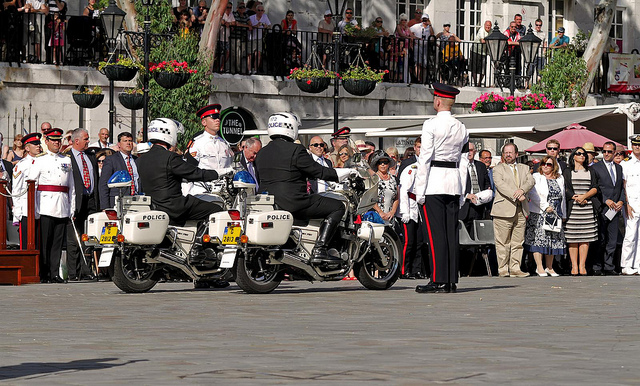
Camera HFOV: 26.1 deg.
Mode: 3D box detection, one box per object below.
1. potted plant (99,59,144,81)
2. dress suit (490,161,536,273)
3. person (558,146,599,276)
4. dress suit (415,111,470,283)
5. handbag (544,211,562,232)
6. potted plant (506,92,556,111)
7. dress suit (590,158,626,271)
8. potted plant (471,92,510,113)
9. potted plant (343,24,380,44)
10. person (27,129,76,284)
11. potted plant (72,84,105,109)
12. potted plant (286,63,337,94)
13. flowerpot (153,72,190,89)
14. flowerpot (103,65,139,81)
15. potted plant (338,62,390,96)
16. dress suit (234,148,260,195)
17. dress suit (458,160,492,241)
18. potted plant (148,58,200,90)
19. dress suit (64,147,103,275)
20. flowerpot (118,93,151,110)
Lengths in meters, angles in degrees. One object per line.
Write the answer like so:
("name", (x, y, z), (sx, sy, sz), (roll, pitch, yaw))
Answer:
("potted plant", (-4.588, -2.823, 31.812), (0.787, 0.260, 0.726), (-1, -3, -2))
("dress suit", (3.808, 0.359, 27.116), (1.016, 2.380, 0.817), (-1, -5, 14))
("person", (5.238, 0.367, 27.864), (0.909, 1.841, 0.433), (-1, 0, -12))
("dress suit", (2.038, 0.109, 22.995), (1.033, 2.583, 0.995), (1, 0, 4))
("handbag", (4.556, 0.573, 27.229), (0.418, 0.484, 0.084), (4, -20, 0))
("potted plant", (5.402, -2.257, 34.982), (0.824, 0.306, 0.794), (-5, 9, -32))
("dress suit", (5.850, 0.436, 28.161), (0.751, 2.159, 0.572), (2, 2, 11))
("potted plant", (4.339, -2.279, 35.449), (0.655, 0.323, 0.632), (1, -1, -22))
("potted plant", (1.064, -4.200, 37.209), (0.797, 0.348, 0.688), (4, 4, 9))
("person", (-4.909, 0.225, 25.304), (0.878, 2.768, 0.506), (0, 0, -20))
("potted plant", (-5.503, -2.285, 33.196), (0.644, 0.332, 0.629), (0, 1, 23))
("potted plant", (-0.218, -2.722, 33.590), (0.951, 0.493, 0.859), (3, -1, 0))
("flowerpot", (-3.388, -2.538, 31.366), (0.808, 0.327, 0.515), (0, 0, -6))
("flowerpot", (-4.588, -2.735, 31.689), (0.837, 0.296, 0.571), (0, 0, -15))
("potted plant", (1.014, -2.749, 34.365), (1.042, 0.450, 1.064), (1, -2, 6))
("dress suit", (-1.348, -0.427, 25.525), (0.524, 0.716, 0.419), (-5, -1, -26))
("dress suit", (3.019, 0.026, 27.383), (0.658, 1.798, 0.576), (1, 1, -15))
("potted plant", (-3.356, -2.636, 31.453), (0.855, 0.529, 0.850), (-8, -12, 39))
("dress suit", (-4.329, 0.399, 25.692), (0.886, 2.575, 0.719), (1, -2, -27))
("flowerpot", (-4.516, -2.167, 32.988), (0.510, 0.188, 0.473), (-1, 0, 0))
